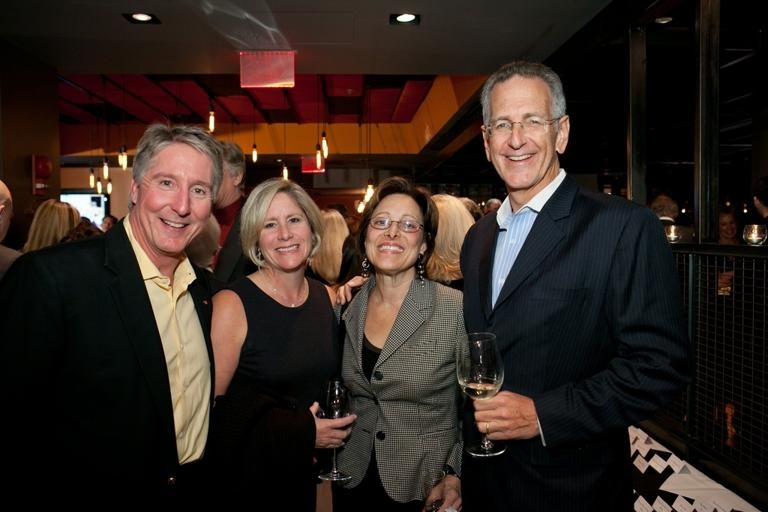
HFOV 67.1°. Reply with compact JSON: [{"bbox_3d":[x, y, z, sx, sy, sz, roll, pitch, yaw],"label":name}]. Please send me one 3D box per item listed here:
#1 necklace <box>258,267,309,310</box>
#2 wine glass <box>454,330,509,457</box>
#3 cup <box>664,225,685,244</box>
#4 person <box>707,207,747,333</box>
[{"bbox_3d":[-0.652,0.203,3.720,0.283,0.161,0.225,34,17,6],"label":"necklace"},{"bbox_3d":[0.524,0.758,3.069,0.226,0.714,0.233,4,7,33],"label":"wine glass"},{"bbox_3d":[2.118,-0.147,4.225,0.107,0.122,0.108,-1,-10,0],"label":"cup"},{"bbox_3d":[2.284,0.047,3.864,0.188,0.825,0.219,-8,25,16],"label":"person"}]
